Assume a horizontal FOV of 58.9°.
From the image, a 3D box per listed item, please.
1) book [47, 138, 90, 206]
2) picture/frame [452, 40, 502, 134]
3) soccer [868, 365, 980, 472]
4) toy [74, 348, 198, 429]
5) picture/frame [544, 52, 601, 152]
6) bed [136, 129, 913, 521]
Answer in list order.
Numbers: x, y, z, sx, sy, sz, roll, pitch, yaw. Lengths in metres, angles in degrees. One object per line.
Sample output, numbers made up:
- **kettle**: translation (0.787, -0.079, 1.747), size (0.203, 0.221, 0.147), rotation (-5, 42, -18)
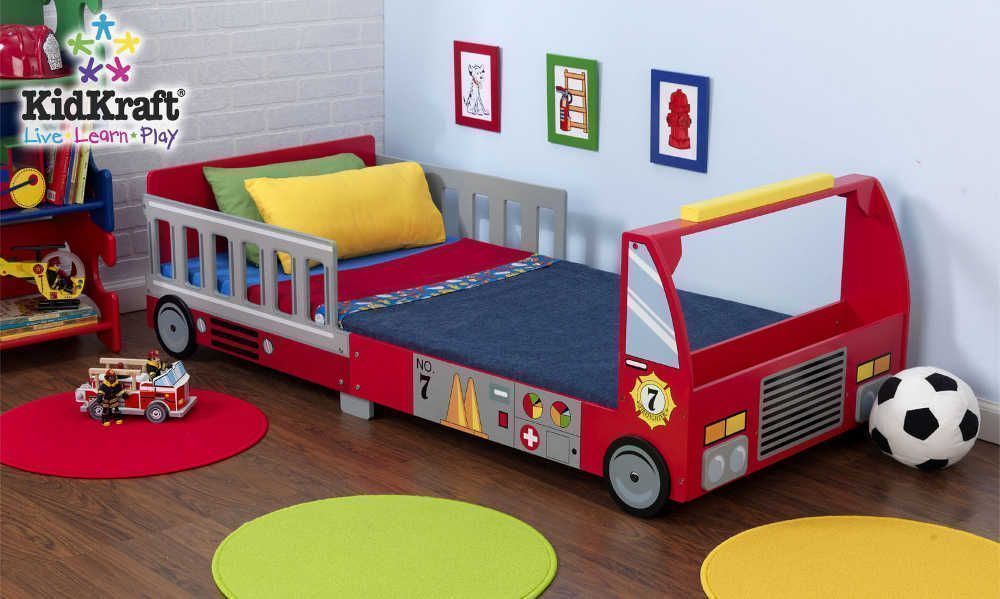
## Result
- **book**: translation (-2.138, -0.621, 4.376), size (0.157, 0.266, 0.258), rotation (10, -22, -33)
- **picture/frame**: translation (-0.120, -1.214, 5.017), size (0.434, 0.580, 0.046), rotation (16, 26, 38)
- **soccer**: translation (1.714, 0.512, 3.767), size (0.415, 0.415, 0.406), rotation (-2, -7, -9)
- **toy**: translation (-1.639, 0.391, 3.984), size (0.473, 0.234, 0.305), rotation (4, 21, 9)
- **picture/frame**: translation (0.395, -1.054, 4.683), size (0.431, 0.606, 0.020), rotation (17, 28, 41)
- **bed**: translation (0.090, -0.093, 4.031), size (3.233, 1.128, 1.312), rotation (13, 29, 25)
